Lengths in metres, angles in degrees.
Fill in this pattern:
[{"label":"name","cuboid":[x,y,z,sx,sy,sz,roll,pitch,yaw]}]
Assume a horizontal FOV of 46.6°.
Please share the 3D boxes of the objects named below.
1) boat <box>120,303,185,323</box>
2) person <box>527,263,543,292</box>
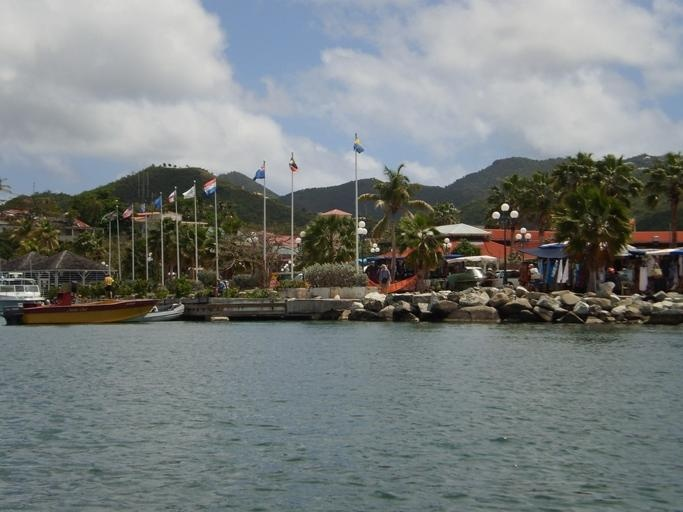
[{"label":"boat","cuboid":[-11.758,3.766,51.490,3.895,1.198,1.155,-7,-5,-26]},{"label":"person","cuboid":[13.153,1.522,53.363,0.807,1.608,2.166,1,5,13]}]
